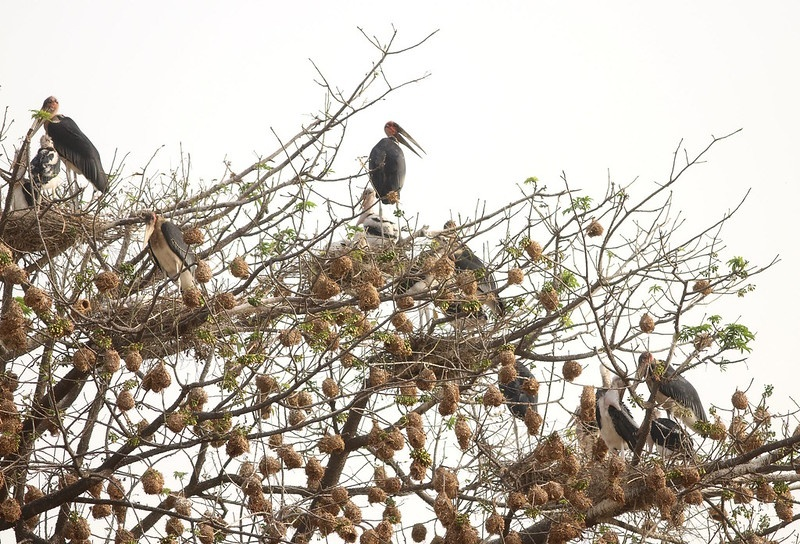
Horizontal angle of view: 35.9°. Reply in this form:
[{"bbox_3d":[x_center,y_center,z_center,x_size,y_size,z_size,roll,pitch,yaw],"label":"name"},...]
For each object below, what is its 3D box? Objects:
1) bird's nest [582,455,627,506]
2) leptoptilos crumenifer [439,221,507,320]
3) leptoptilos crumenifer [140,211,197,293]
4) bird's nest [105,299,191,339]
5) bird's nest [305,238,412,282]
[{"bbox_3d":[2.069,2.056,12.076,0.502,0.270,0.507,-3,-99,35],"label":"bird's nest"},{"bbox_3d":[0.616,0.052,11.285,0.985,0.282,0.395,56,-29,-5],"label":"leptoptilos crumenifer"},{"bbox_3d":[-2.277,-0.184,12.118,0.372,0.841,0.883,-30,-78,-5],"label":"leptoptilos crumenifer"},{"bbox_3d":[-2.498,0.481,12.231,0.869,0.929,0.454,-1,-91,-16],"label":"bird's nest"},{"bbox_3d":[-0.483,-0.185,12.944,0.808,0.601,0.294,-8,-80,10],"label":"bird's nest"}]
